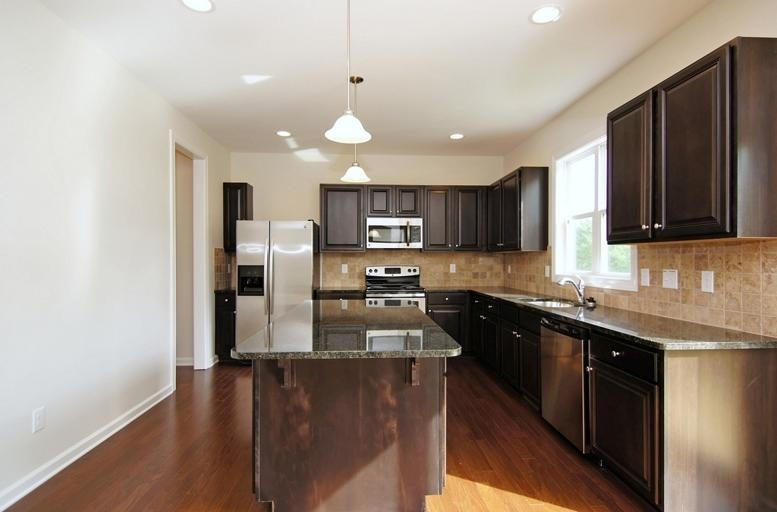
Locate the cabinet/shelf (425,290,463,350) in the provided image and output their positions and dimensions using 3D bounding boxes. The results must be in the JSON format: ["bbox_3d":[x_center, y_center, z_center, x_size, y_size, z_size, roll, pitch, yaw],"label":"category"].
[{"bbox_3d":[0.705,0.762,6.614,0.601,0.860,0.594,0,-4,-5],"label":"cabinet/shelf"}]

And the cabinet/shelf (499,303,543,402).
[{"bbox_3d":[1.257,0.918,5.118,0.478,0.847,0.926,1,-1,-2],"label":"cabinet/shelf"}]

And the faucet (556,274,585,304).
[{"bbox_3d":[1.748,0.322,5.172,0.210,0.241,0.687,-2,1,20],"label":"faucet"}]

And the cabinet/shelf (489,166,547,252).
[{"bbox_3d":[1.449,-0.495,6.024,0.404,0.914,1.052,1,-2,-2],"label":"cabinet/shelf"}]

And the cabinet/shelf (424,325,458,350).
[{"bbox_3d":[0.340,0.556,3.600,0.222,0.093,0.530,-2,0,4],"label":"cabinet/shelf"}]

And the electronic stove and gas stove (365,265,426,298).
[{"bbox_3d":[0.038,0.297,6.742,0.597,0.402,0.407,0,-9,-2],"label":"electronic stove and gas stove"}]

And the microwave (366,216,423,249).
[{"bbox_3d":[0.074,-0.291,6.731,0.594,0.364,0.399,0,-4,-3],"label":"microwave"}]

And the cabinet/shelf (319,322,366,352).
[{"bbox_3d":[-0.310,0.548,3.577,0.206,0.118,0.219,5,-2,-24],"label":"cabinet/shelf"}]
